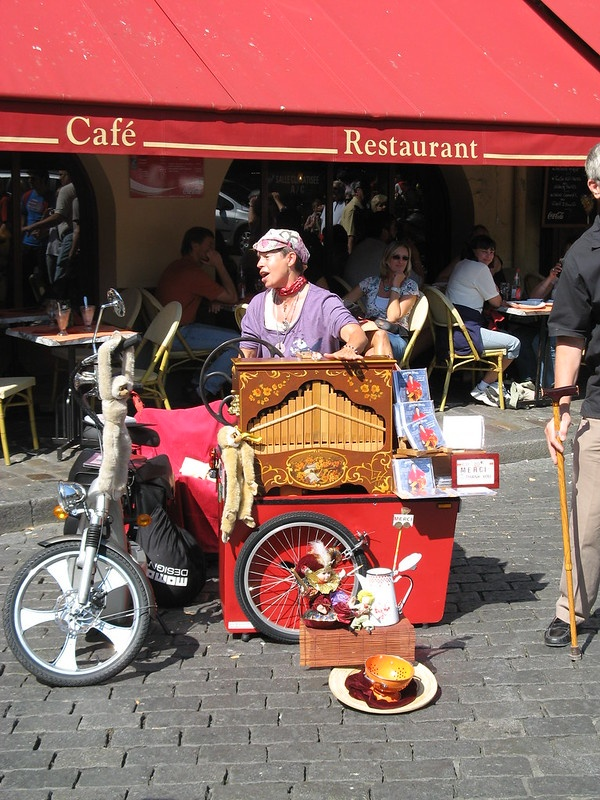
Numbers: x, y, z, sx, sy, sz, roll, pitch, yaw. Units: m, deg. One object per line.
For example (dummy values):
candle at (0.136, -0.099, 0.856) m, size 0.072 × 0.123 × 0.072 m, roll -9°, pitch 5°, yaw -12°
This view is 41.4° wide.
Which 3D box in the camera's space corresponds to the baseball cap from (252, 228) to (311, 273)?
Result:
baseball cap at (-0.066, -0.667, 3.485) m, size 0.247 × 0.123 × 0.164 m, roll 16°, pitch 4°, yaw -11°

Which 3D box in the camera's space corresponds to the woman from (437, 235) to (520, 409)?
woman at (1.835, -0.791, 8.119) m, size 0.787 × 1.629 × 0.578 m, roll -7°, pitch 13°, yaw -11°

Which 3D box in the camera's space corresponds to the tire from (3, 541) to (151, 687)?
tire at (-0.872, 0.743, 3.207) m, size 0.523 × 0.544 × 0.847 m, roll -2°, pitch 5°, yaw -12°

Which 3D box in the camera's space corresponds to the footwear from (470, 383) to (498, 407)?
footwear at (1.863, -0.041, 7.941) m, size 0.329 × 0.148 × 0.145 m, roll 37°, pitch 13°, yaw 22°

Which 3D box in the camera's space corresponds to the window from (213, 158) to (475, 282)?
window at (0.406, -2.000, 8.694) m, size 2.479 × 2.154 × 1.335 m, roll -2°, pitch 8°, yaw -22°

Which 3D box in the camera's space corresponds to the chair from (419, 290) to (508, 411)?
chair at (1.661, -0.530, 8.016) m, size 0.885 × 1.072 × 0.771 m, roll 4°, pitch 10°, yaw 4°

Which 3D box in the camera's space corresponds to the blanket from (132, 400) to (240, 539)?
blanket at (-0.541, 0.389, 4.382) m, size 0.546 × 0.653 × 0.645 m, roll -2°, pitch 9°, yaw -23°

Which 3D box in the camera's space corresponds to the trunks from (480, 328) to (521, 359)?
trunks at (1.952, -0.539, 7.787) m, size 0.372 × 0.301 × 0.174 m, roll 0°, pitch 5°, yaw 9°

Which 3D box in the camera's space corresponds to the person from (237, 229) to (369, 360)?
person at (-0.011, -0.390, 3.516) m, size 0.705 × 0.658 × 0.432 m, roll 8°, pitch 11°, yaw 38°

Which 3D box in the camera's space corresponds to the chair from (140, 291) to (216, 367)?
chair at (-1.136, -0.722, 7.640) m, size 0.722 × 0.977 × 0.635 m, roll -3°, pitch 13°, yaw -9°

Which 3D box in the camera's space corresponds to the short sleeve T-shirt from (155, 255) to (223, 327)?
short sleeve T-shirt at (-1.127, -1.103, 7.721) m, size 0.485 × 0.629 × 0.776 m, roll -18°, pitch 30°, yaw -35°

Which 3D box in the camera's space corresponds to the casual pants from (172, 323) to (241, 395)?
casual pants at (-0.787, -0.346, 6.545) m, size 0.519 × 0.582 × 0.445 m, roll 16°, pitch 32°, yaw 28°

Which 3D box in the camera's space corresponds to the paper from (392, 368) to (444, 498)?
paper at (0.494, 0.130, 3.308) m, size 0.209 × 0.500 × 0.323 m, roll 0°, pitch 5°, yaw 9°

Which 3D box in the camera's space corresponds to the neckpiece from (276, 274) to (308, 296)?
neckpiece at (-0.045, -0.509, 3.488) m, size 0.091 × 0.045 × 0.107 m, roll -25°, pitch 6°, yaw 26°

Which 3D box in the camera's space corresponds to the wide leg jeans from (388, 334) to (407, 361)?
wide leg jeans at (0.882, -0.467, 7.179) m, size 0.147 × 0.251 × 0.526 m, roll 0°, pitch 5°, yaw 7°

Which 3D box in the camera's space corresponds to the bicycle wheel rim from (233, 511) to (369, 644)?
bicycle wheel rim at (-0.008, 0.727, 3.210) m, size 0.496 × 0.564 × 0.314 m, roll 1°, pitch 6°, yaw 20°

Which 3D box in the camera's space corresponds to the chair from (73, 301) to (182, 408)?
chair at (-1.407, -0.290, 6.863) m, size 0.783 × 1.021 × 0.628 m, roll -8°, pitch 14°, yaw -29°

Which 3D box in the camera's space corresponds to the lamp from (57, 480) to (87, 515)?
lamp at (-0.862, 0.370, 2.994) m, size 0.094 × 0.109 × 0.123 m, roll -4°, pitch -10°, yaw -1°

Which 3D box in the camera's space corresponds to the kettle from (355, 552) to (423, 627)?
kettle at (0.335, 0.706, 2.977) m, size 0.226 × 0.242 × 0.169 m, roll 0°, pitch 2°, yaw 12°

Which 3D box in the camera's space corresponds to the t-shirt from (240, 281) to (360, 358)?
t-shirt at (-0.026, -0.287, 3.585) m, size 0.594 × 0.439 × 0.228 m, roll 4°, pitch 20°, yaw 12°

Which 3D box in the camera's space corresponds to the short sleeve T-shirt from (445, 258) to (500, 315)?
short sleeve T-shirt at (1.712, -1.195, 8.000) m, size 0.404 × 0.513 × 0.618 m, roll -22°, pitch 41°, yaw -23°
